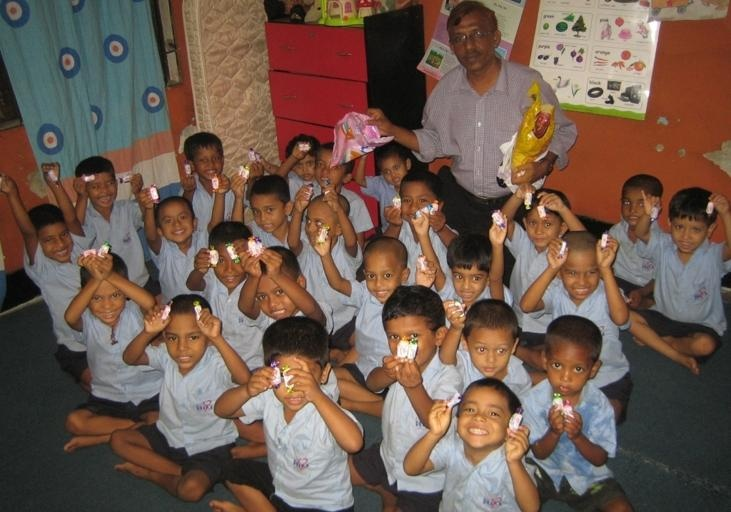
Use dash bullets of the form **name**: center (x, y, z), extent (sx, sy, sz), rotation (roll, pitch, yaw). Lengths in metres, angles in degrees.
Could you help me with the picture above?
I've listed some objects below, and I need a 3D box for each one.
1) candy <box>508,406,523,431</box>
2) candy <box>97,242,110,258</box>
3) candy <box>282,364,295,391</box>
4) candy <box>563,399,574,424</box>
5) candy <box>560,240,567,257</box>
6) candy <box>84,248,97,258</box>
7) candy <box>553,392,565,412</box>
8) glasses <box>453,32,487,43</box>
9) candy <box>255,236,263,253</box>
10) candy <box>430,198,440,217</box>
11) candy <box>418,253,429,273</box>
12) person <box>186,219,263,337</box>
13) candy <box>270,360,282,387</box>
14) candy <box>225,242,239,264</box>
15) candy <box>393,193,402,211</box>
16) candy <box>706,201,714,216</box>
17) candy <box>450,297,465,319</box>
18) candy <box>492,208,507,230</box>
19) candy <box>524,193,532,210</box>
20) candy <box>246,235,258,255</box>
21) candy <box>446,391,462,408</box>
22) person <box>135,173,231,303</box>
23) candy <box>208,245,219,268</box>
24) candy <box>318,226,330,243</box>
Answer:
- **candy**: center (0.778, 0.837, 3.072), extent (0.059, 0.104, 0.038), rotation (18, 7, 31)
- **candy**: center (-1.767, -0.036, 4.023), extent (0.040, 0.069, 0.119), rotation (-44, 27, 9)
- **candy**: center (-0.417, 0.657, 3.238), extent (0.053, 0.116, 0.112), rotation (-7, 24, -11)
- **candy**: center (1.097, 0.844, 3.248), extent (0.035, 0.101, 0.092), rotation (-23, 43, 5)
- **candy**: center (1.284, -0.060, 3.854), extent (0.041, 0.081, 0.137), rotation (7, 25, 20)
- **candy**: center (-1.730, -0.009, 3.766), extent (0.078, 0.059, 0.021), rotation (2, -10, 8)
- **candy**: center (1.080, 0.804, 3.299), extent (0.079, 0.077, 0.037), rotation (-8, -29, 13)
- **glasses**: center (0.785, -1.624, 4.451), extent (0.231, 0.083, 0.047), rotation (1, 24, 6)
- **candy**: center (-0.698, -0.068, 3.920), extent (0.041, 0.114, 0.090), rotation (-10, -4, 8)
- **candy**: center (0.494, -0.332, 4.296), extent (0.040, 0.073, 0.123), rotation (9, -6, -15)
- **candy**: center (0.376, 0.038, 3.755), extent (0.064, 0.098, 0.104), rotation (13, 28, 30)
- **person**: center (-0.989, 0.107, 4.073), extent (0.586, 0.267, 0.889), rotation (1, 22, -27)
- **candy**: center (-0.486, 0.643, 3.252), extent (0.036, 0.121, 0.063), rotation (0, 3, 9)
- **candy**: center (-0.887, -0.012, 4.000), extent (0.034, 0.126, 0.095), rotation (-19, 7, 30)
- **candy**: center (0.230, -0.403, 4.462), extent (0.090, 0.121, 0.043), rotation (1, -9, 5)
- **candy**: center (2.434, -0.331, 4.214), extent (0.043, 0.090, 0.031), rotation (3, 8, 13)
- **candy**: center (0.517, 0.304, 3.371), extent (0.093, 0.088, 0.090), rotation (0, 24, 4)
- **candy**: center (0.895, -0.245, 4.005), extent (0.103, 0.118, 0.064), rotation (-36, -10, -5)
- **candy**: center (1.161, -0.388, 4.236), extent (0.034, 0.128, 0.069), rotation (7, -7, -41)
- **candy**: center (-0.712, -0.069, 3.780), extent (0.073, 0.106, 0.035), rotation (-10, -6, 6)
- **candy**: center (0.471, 0.763, 3.179), extent (0.025, 0.075, 0.119), rotation (25, -33, -9)
- **person**: center (-1.426, -0.001, 4.802), extent (0.602, 1.412, 0.411), rotation (-12, 32, -26)
- **candy**: center (-1.046, 0.009, 4.114), extent (0.075, 0.138, 0.184), rotation (-8, 25, -14)
- **candy**: center (-0.287, -0.137, 4.048), extent (0.081, 0.104, 0.038), rotation (5, -10, -18)
